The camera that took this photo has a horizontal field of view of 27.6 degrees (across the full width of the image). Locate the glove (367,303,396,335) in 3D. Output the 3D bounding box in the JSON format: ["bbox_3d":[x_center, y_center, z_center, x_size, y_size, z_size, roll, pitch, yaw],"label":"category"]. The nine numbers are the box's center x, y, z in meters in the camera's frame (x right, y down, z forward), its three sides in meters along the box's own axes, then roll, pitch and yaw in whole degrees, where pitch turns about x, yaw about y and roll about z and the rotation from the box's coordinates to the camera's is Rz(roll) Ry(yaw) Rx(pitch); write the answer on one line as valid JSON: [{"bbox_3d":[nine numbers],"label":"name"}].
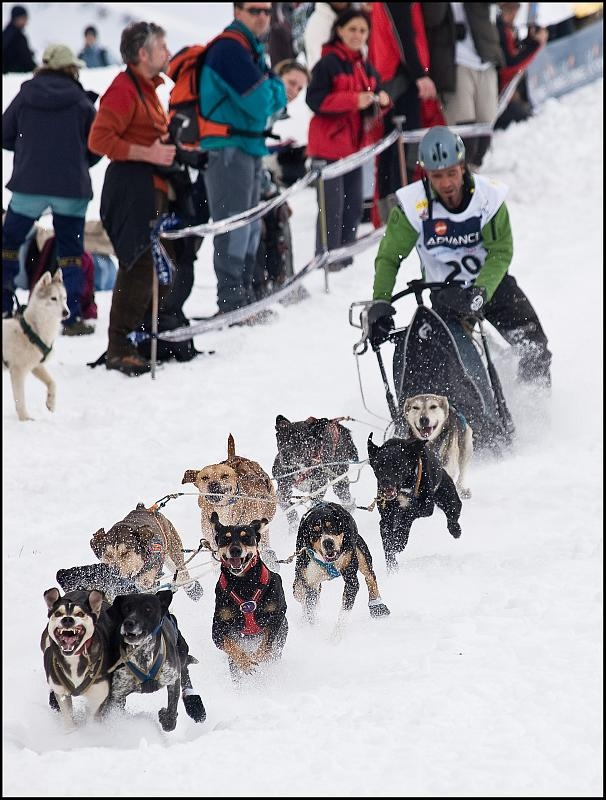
[{"bbox_3d":[0.367,-0.372,5.871,0.145,0.138,0.118,3,-17,-31],"label":"glove"}]

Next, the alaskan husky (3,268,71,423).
[{"bbox_3d":[-1.241,-0.247,5.776,0.308,0.692,0.390,-5,6,-11],"label":"alaskan husky"}]

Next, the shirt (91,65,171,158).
[{"bbox_3d":[-0.803,-1.351,5.859,0.182,0.270,0.333,21,33,13],"label":"shirt"}]

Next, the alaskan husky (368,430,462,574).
[{"bbox_3d":[0.498,0.455,5.468,0.384,0.670,0.462,-3,6,6],"label":"alaskan husky"}]

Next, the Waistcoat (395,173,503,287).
[{"bbox_3d":[0.702,-0.803,5.842,0.499,0.289,0.508,-5,-34,16],"label":"Waistcoat"}]

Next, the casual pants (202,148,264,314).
[{"bbox_3d":[-0.376,-0.891,6.399,0.203,0.231,0.824,-1,33,12],"label":"casual pants"}]

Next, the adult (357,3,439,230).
[{"bbox_3d":[0.559,-1.742,7.310,0.432,1.738,0.490,-8,44,1],"label":"adult"}]

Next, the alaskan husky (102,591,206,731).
[{"bbox_3d":[-0.607,1.043,4.908,0.291,0.630,0.439,-1,7,25],"label":"alaskan husky"}]

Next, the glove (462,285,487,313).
[{"bbox_3d":[0.791,-0.461,5.707,0.095,0.120,0.079,-3,7,12],"label":"glove"}]

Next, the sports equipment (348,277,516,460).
[{"bbox_3d":[0.724,-0.285,5.885,0.688,0.731,0.471,6,30,32],"label":"sports equipment"}]

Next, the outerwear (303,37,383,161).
[{"bbox_3d":[0.266,-1.767,7.323,0.463,0.680,0.401,-5,26,-21],"label":"outerwear"}]

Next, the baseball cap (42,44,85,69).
[{"bbox_3d":[-1.152,-1.637,5.903,0.191,0.130,0.100,-6,7,-12],"label":"baseball cap"}]

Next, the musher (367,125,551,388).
[{"bbox_3d":[0.770,-0.492,5.831,0.824,1.492,0.642,-1,-10,-33],"label":"musher"}]

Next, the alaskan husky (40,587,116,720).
[{"bbox_3d":[-0.881,1.011,4.902,0.288,0.588,0.721,1,-1,-5],"label":"alaskan husky"}]

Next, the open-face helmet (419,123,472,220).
[{"bbox_3d":[0.652,-1.055,5.676,0.221,0.382,0.222,-3,6,8],"label":"open-face helmet"}]

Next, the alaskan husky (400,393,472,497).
[{"bbox_3d":[0.591,0.191,5.834,0.200,0.449,0.704,-4,2,12],"label":"alaskan husky"}]

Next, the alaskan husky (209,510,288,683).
[{"bbox_3d":[-0.220,0.800,4.945,0.300,0.700,0.287,-5,6,-6],"label":"alaskan husky"}]

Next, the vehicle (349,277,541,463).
[{"bbox_3d":[0.679,-0.217,6.124,0.543,0.805,0.846,-16,-12,-18],"label":"vehicle"}]

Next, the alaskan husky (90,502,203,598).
[{"bbox_3d":[-0.673,0.708,5.301,0.252,0.519,0.751,-2,5,14],"label":"alaskan husky"}]

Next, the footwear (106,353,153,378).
[{"bbox_3d":[-0.863,-0.170,6.126,0.199,0.214,0.096,-1,2,-11],"label":"footwear"}]

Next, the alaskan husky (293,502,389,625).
[{"bbox_3d":[0.120,0.700,5.240,0.372,0.572,0.474,-2,7,14],"label":"alaskan husky"}]

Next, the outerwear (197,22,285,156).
[{"bbox_3d":[-0.275,-1.589,6.431,0.461,0.879,0.681,-1,17,0],"label":"outerwear"}]
